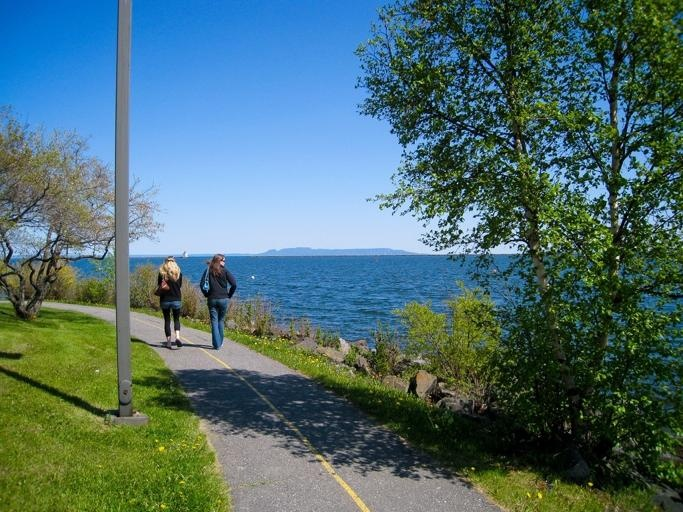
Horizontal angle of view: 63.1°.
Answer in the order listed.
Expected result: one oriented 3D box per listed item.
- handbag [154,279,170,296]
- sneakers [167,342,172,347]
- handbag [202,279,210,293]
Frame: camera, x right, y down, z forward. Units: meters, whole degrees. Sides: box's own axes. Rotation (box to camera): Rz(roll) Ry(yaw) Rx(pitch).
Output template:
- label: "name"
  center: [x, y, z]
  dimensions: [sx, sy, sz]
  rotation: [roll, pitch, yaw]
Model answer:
- label: "handbag"
  center: [-5.046, 0.730, 15.662]
  dimensions: [0.284, 0.768, 0.669]
  rotation: [0, -1, -24]
- label: "sneakers"
  center: [-5.132, 2.661, 16.562]
  dimensions: [0.123, 0.183, 0.165]
  rotation: [-4, -3, -15]
- label: "handbag"
  center: [-3.920, 0.862, 16.084]
  dimensions: [0.211, 0.383, 0.113]
  rotation: [2, 7, -19]
